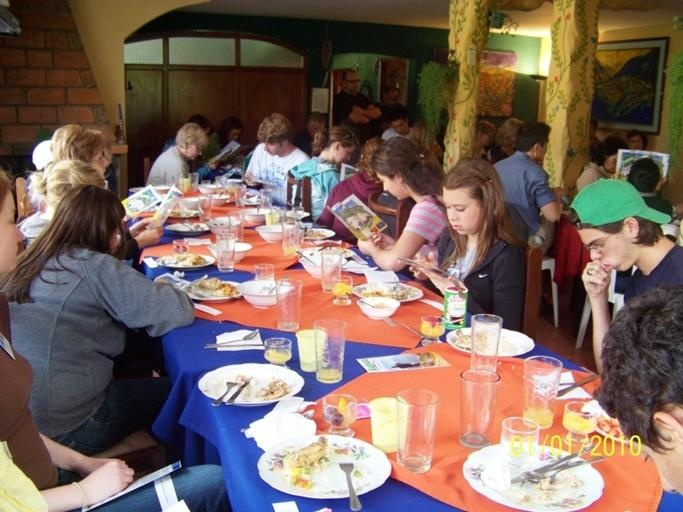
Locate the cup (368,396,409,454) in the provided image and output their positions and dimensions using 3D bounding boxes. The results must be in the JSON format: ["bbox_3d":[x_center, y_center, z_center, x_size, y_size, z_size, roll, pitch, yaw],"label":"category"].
[{"bbox_3d":[0.112,0.401,1.222,0.120,0.135,0.130,-2,5,0],"label":"cup"}]

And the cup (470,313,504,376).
[{"bbox_3d":[0.444,0.277,1.585,0.087,0.178,0.262,4,14,17],"label":"cup"}]

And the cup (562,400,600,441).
[{"bbox_3d":[0.600,0.411,1.303,0.076,0.071,0.088,-1,9,4],"label":"cup"}]

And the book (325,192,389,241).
[{"bbox_3d":[0.081,-0.213,2.772,0.262,0.069,0.255,43,46,2],"label":"book"}]

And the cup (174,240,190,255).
[{"bbox_3d":[-0.870,-0.051,2.801,0.080,0.087,0.079,1,14,0],"label":"cup"}]

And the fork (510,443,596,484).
[{"bbox_3d":[0.473,0.470,1.159,0.181,0.025,0.030,-19,8,-31],"label":"fork"}]

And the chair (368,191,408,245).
[{"bbox_3d":[0.286,-0.222,3.054,0.214,0.285,0.224,-17,33,-17],"label":"chair"}]

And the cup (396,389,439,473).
[{"bbox_3d":[0.178,0.393,1.207,0.091,0.167,0.148,2,14,9],"label":"cup"}]

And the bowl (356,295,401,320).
[{"bbox_3d":[0.152,0.198,2.037,0.102,0.040,0.102,-1,12,0],"label":"bowl"}]

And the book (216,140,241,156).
[{"bbox_3d":[-1.365,-1.320,6.289,0.263,0.067,0.286,-27,17,4],"label":"book"}]

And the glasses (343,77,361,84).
[{"bbox_3d":[0.167,-2.530,7.361,0.223,0.104,0.108,-8,16,-30],"label":"glasses"}]

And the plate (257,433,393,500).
[{"bbox_3d":[-0.039,0.467,1.162,0.285,0.069,0.206,5,15,22],"label":"plate"}]

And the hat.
[{"bbox_3d":[1.050,-0.172,1.893,0.332,0.166,0.213,-6,-12,21],"label":"hat"}]

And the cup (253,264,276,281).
[{"bbox_3d":[-0.345,0.069,2.308,0.085,0.063,0.064,-2,12,-13],"label":"cup"}]

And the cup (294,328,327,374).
[{"bbox_3d":[-0.094,0.282,1.590,0.130,0.133,0.132,2,11,0],"label":"cup"}]

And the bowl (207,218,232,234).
[{"bbox_3d":[-0.798,-0.212,3.371,0.147,0.066,0.155,3,19,-1],"label":"bowl"}]

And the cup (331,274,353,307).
[{"bbox_3d":[0.009,0.153,2.204,0.106,0.119,0.108,1,6,0],"label":"cup"}]

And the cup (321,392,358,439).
[{"bbox_3d":[-0.004,0.394,1.295,0.090,0.102,0.095,0,9,0],"label":"cup"}]

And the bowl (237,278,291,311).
[{"bbox_3d":[-0.335,0.154,2.124,0.156,0.057,0.156,3,15,-1],"label":"bowl"}]

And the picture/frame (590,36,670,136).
[{"bbox_3d":[5.022,-3.001,9.029,0.253,1.636,1.347,-7,15,-24],"label":"picture/frame"}]

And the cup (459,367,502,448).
[{"bbox_3d":[0.334,0.379,1.258,0.086,0.173,0.057,4,14,18],"label":"cup"}]

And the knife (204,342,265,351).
[{"bbox_3d":[-0.366,0.309,1.755,0.212,0.016,0.064,0,18,-8],"label":"knife"}]

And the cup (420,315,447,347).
[{"bbox_3d":[0.323,0.263,1.834,0.085,0.095,0.091,0,4,0],"label":"cup"}]

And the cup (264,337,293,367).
[{"bbox_3d":[-0.201,0.299,1.630,0.081,0.074,0.088,2,3,0],"label":"cup"}]
